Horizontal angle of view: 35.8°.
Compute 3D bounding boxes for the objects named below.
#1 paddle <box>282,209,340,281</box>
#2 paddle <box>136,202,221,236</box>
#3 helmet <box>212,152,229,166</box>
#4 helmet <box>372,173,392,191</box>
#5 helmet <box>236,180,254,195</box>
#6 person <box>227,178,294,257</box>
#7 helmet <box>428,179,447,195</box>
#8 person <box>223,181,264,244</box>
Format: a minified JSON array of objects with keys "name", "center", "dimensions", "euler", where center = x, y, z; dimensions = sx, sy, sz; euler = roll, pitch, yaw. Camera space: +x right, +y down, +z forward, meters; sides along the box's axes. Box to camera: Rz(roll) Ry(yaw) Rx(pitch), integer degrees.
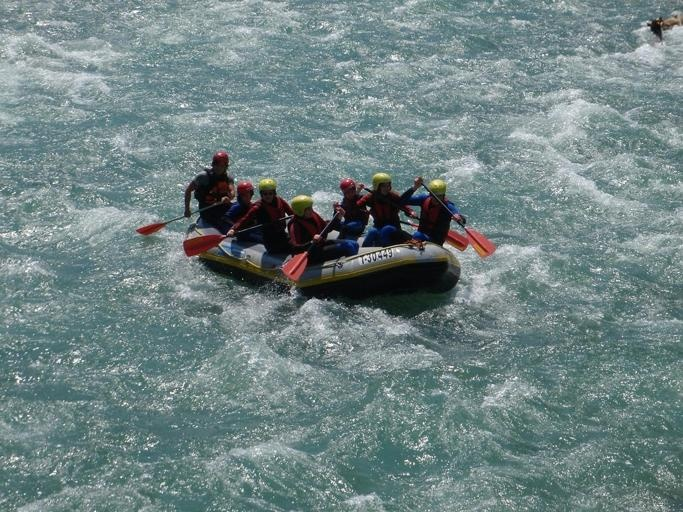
[{"name":"paddle","center":[-0.587,-0.145,19.270],"dimensions":[1.902,0.160,0.402],"euler":[-40,84,-22]},{"name":"paddle","center":[-3.230,-0.692,20.851],"dimensions":[2.200,0.205,0.093],"euler":[-15,43,10]},{"name":"helmet","center":[-2.341,-1.860,20.295],"dimensions":[0.267,0.214,0.294],"euler":[8,29,-8]},{"name":"helmet","center":[0.682,-1.360,19.731],"dimensions":[0.454,0.272,0.346],"euler":[2,18,26]},{"name":"helmet","center":[-1.823,-1.261,19.943],"dimensions":[0.321,0.188,0.256],"euler":[-12,26,-11]},{"name":"person","center":[-1.564,-0.650,19.839],"dimensions":[1.733,0.918,0.939],"euler":[-12,27,-18]},{"name":"helmet","center":[1.787,-1.249,19.527],"dimensions":[0.492,0.314,0.284],"euler":[-2,47,4]},{"name":"person","center":[-1.904,-0.781,20.050],"dimensions":[0.817,1.062,0.549],"euler":[1,-2,7]}]
